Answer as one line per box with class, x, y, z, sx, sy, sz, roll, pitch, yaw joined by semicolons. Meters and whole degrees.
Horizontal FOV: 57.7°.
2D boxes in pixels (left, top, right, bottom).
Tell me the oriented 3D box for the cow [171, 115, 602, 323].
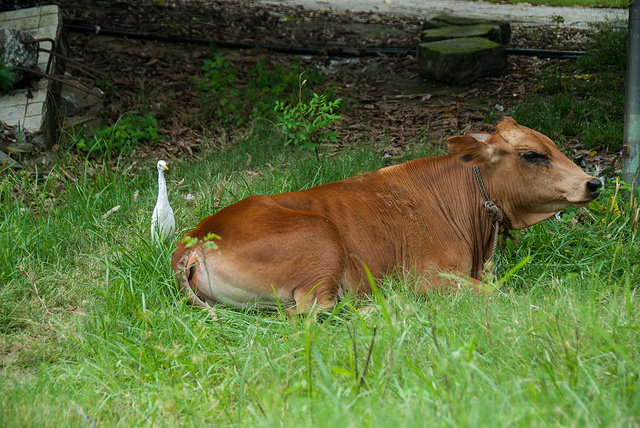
cow;0.582;0.084;4.928;3.222;1.336;1.131;-6;5;-3
